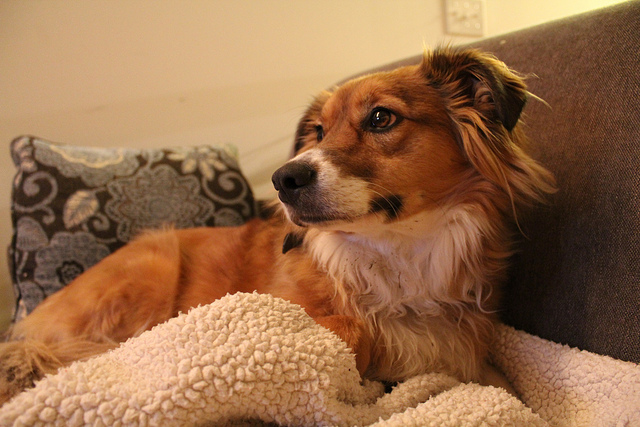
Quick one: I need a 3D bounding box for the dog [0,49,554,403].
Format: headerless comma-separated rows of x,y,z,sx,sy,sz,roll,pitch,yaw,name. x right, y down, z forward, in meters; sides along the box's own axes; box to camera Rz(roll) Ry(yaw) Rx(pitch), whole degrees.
0.109,0.135,3.425,2.152,1.199,1.858,-1,-5,-9,dog

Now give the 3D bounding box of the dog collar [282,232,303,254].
-0.150,0.144,2.934,0.075,0.029,0.106,5,69,20,dog collar
